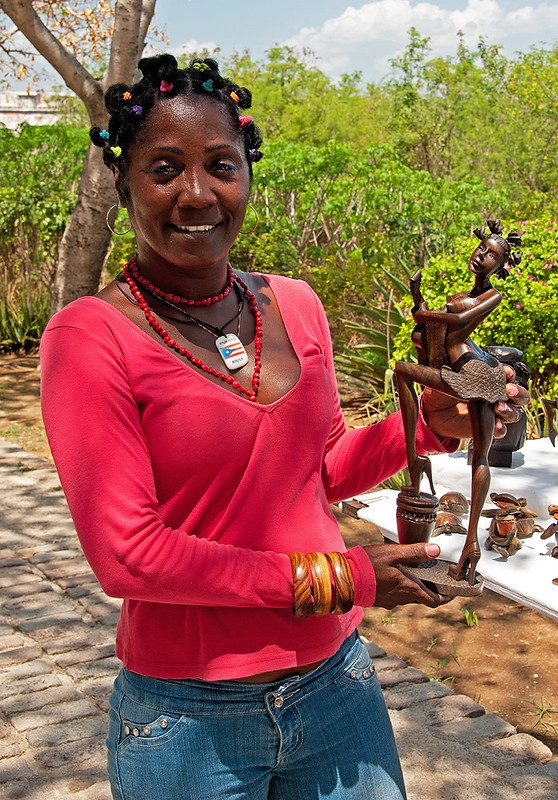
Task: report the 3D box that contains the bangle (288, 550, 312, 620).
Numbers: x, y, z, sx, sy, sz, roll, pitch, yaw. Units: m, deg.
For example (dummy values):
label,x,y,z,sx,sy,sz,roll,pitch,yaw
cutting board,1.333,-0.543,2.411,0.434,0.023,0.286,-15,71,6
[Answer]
label,x,y,z,sx,sy,sz,roll,pitch,yaw
bangle,0.029,0.256,0.952,0.031,0.077,0.042,3,10,-15
